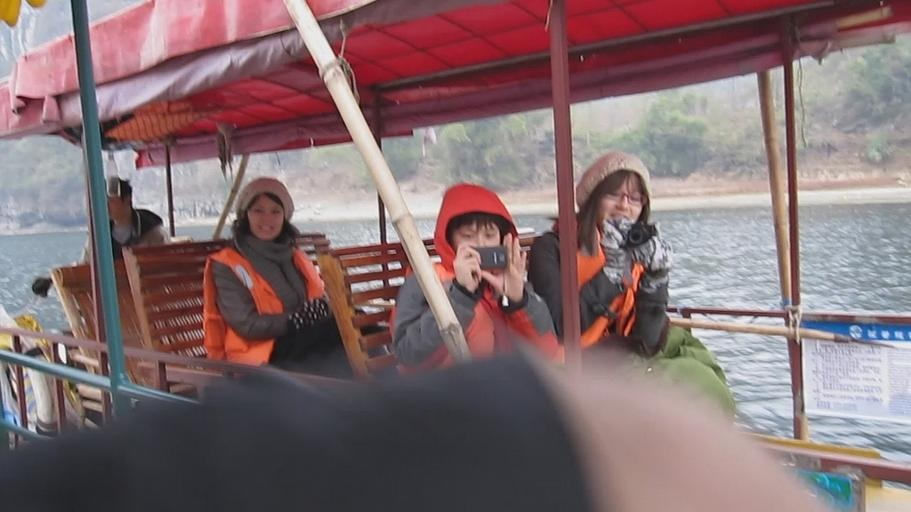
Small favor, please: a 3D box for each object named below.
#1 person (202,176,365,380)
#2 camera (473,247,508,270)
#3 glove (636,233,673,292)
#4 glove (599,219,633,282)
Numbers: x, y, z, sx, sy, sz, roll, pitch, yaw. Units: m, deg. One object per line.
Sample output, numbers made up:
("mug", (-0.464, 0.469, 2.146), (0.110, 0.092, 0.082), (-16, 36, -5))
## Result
("person", (-1.741, 0.171, 5.916), (1.200, 1.260, 0.716), (-6, 4, -21))
("camera", (0.267, 0.016, 4.647), (0.220, 0.178, 0.082), (-6, 4, -24))
("glove", (1.613, 0.048, 5.149), (0.339, 0.430, 0.161), (21, -13, -42))
("glove", (1.287, -0.049, 5.243), (0.317, 0.464, 0.179), (1, 0, -12))
